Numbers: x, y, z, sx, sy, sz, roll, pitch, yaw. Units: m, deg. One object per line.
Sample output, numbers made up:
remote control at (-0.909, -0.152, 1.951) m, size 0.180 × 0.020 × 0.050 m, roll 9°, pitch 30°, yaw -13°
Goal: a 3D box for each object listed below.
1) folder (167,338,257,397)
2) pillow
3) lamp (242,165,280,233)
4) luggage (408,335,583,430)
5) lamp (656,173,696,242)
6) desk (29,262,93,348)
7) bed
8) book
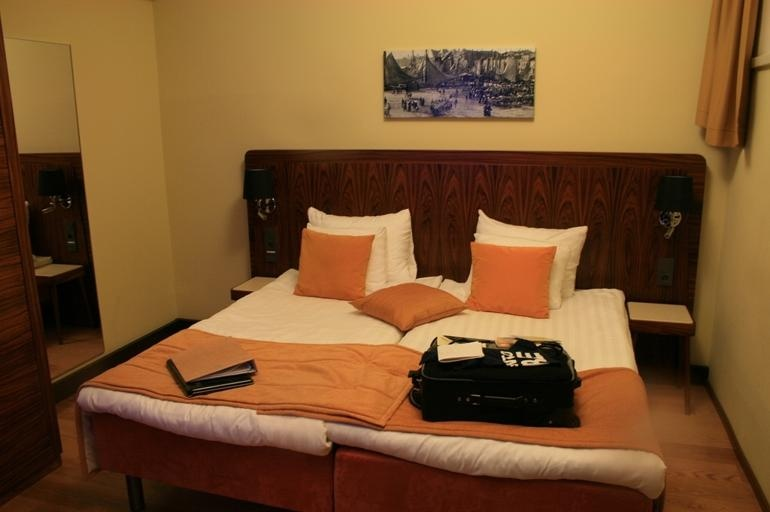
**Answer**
folder at (-0.975, 0.647, 3.226) m, size 0.325 × 0.110 × 0.317 m, roll -9°, pitch 16°, yaw -27°
pillow at (0.033, 0.179, 4.838) m, size 1.468 × 0.924 × 0.415 m, roll 3°, pitch -11°, yaw 14°
lamp at (-1.048, -0.515, 4.724) m, size 0.273 × 0.466 × 0.283 m, roll -3°, pitch 16°, yaw -11°
luggage at (0.626, 0.660, 3.188) m, size 0.895 × 0.319 × 0.753 m, roll 0°, pitch 10°, yaw 11°
lamp at (2.123, -0.351, 4.067) m, size 0.285 × 0.484 × 0.239 m, roll 5°, pitch 17°, yaw 16°
desk at (-2.424, 0.338, 4.165) m, size 0.271 × 0.346 × 0.245 m, roll -30°, pitch -6°, yaw 5°
bed at (0.110, 0.682, 3.611) m, size 2.936 × 0.483 × 1.902 m, roll 4°, pitch 16°, yaw 16°
book at (-0.994, 0.647, 3.221) m, size 0.327 × 0.104 × 0.324 m, roll -5°, pitch 17°, yaw -12°
